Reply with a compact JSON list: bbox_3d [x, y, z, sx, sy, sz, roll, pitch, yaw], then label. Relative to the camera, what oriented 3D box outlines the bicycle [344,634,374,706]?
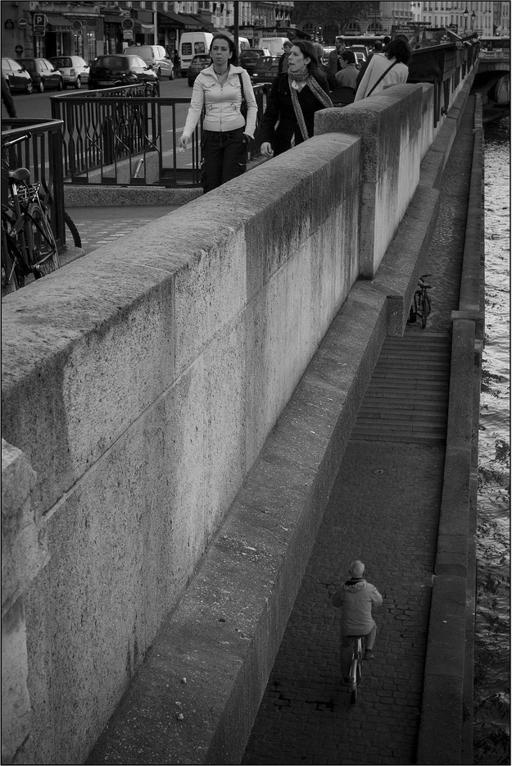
[{"bbox_3d":[1.191,3.288,8.395,0.230,0.457,0.617,1,16,5],"label":"bicycle"}]

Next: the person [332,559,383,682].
[{"bbox_3d":[1.186,2.785,8.510,0.571,1.569,0.452,-2,13,-5],"label":"person"}]

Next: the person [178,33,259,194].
[{"bbox_3d":[-0.428,-3.212,8.745,0.854,1.794,0.848,-2,14,-4],"label":"person"}]
